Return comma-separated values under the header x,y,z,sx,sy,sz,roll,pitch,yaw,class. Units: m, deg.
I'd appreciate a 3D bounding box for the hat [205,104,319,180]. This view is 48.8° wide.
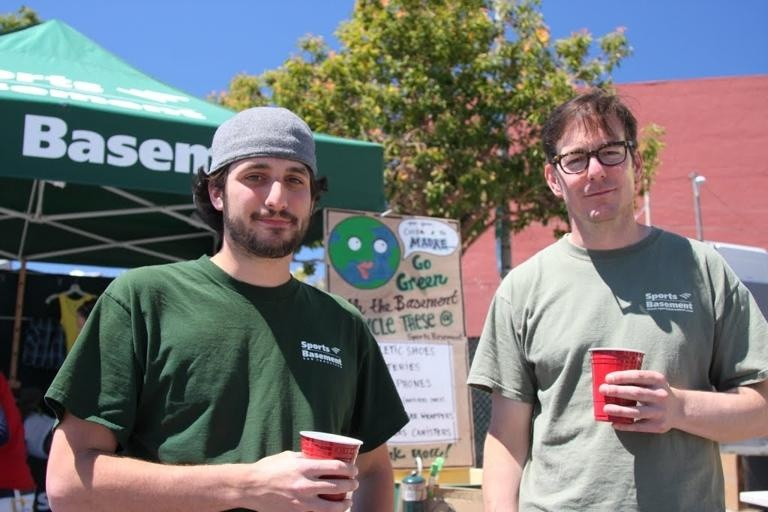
x,y,z,sx,sy,sz,roll,pitch,yaw,class
-0.674,-0.656,4.652,0.422,0.253,0.431,-1,-4,19,hat
